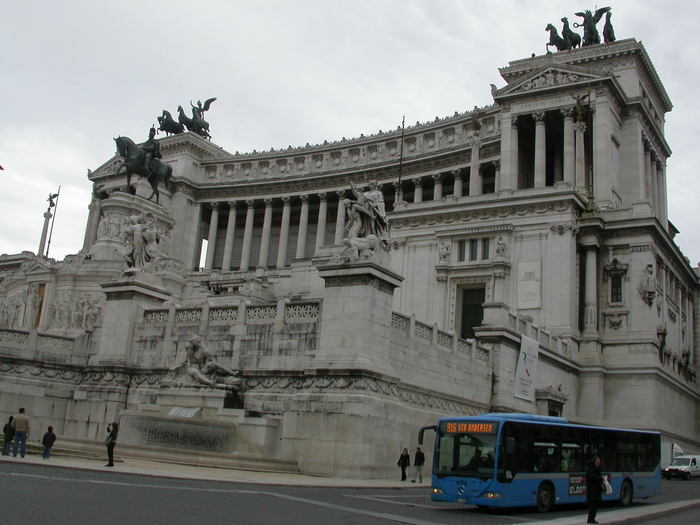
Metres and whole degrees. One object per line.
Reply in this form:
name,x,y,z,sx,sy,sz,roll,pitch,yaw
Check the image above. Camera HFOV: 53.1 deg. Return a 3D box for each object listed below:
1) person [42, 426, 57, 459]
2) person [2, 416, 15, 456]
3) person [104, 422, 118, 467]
person,-10.187,6.110,23.701,0.323,1.074,1.067,11,-17,-20
person,-11.694,5.953,23.995,0.352,1.294,1.210,12,-17,-23
person,-8.076,6.177,23.745,0.381,1.453,2.026,9,-17,-16
